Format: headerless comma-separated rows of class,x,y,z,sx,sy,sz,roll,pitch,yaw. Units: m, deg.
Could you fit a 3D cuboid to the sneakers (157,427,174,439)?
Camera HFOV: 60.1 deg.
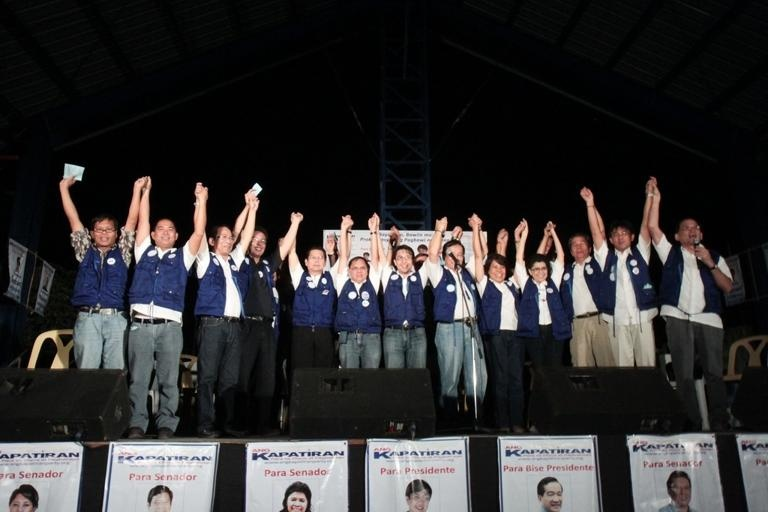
sneakers,-2.078,1.689,6.311,0.085,0.103,0.215,5,-29,-19

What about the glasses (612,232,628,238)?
glasses,2.682,-0.256,7.575,0.082,0.028,0.086,20,-23,-40

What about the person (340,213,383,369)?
person,-0.272,0.393,7.294,0.507,1.641,0.489,1,-18,-3

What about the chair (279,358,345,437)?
chair,-0.630,1.236,5.968,0.487,0.609,0.537,3,-2,-1

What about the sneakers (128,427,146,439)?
sneakers,-2.344,1.674,6.277,0.085,0.105,0.226,13,-25,-22

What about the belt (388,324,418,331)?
belt,0.190,0.756,7.154,0.308,0.055,0.038,-1,-19,2

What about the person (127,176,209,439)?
person,-2.247,0.473,6.686,0.715,2.640,0.633,5,-19,-14

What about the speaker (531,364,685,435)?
speaker,2.062,1.399,6.126,1.199,0.621,0.946,-2,4,2

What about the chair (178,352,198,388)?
chair,-2.419,1.362,7.960,0.277,0.361,0.279,9,8,-45
